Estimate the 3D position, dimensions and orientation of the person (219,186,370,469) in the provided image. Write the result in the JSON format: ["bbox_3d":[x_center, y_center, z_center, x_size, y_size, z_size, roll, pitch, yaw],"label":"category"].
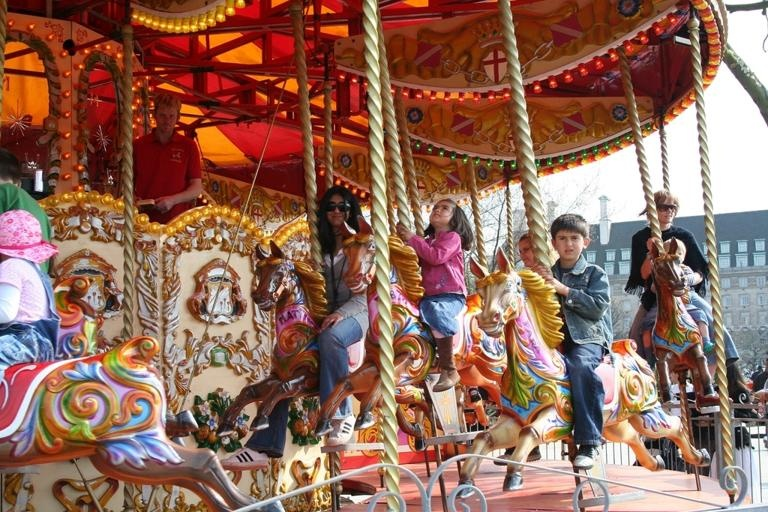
[{"bbox_3d":[-0.685,0.642,10.258,1.301,2.753,0.825,-4,-6,16],"label":"person"}]

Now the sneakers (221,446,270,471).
[{"bbox_3d":[-1.346,1.980,10.218,0.517,0.234,0.210,4,-14,-5],"label":"sneakers"}]

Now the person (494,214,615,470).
[{"bbox_3d":[1.781,0.732,9.624,0.612,2.357,0.784,-3,-6,13],"label":"person"}]

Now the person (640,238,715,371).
[{"bbox_3d":[3.365,0.297,12.160,0.596,1.468,1.945,-8,6,17],"label":"person"}]

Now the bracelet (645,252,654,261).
[{"bbox_3d":[2.978,0.032,11.760,0.105,0.148,0.048,-9,-19,32],"label":"bracelet"}]

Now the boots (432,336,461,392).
[{"bbox_3d":[0.599,1.050,10.277,0.204,0.516,0.258,-4,-6,13],"label":"boots"}]

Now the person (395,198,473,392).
[{"bbox_3d":[0.570,0.370,10.611,0.594,1.964,0.860,-4,-6,15],"label":"person"}]

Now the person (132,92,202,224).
[{"bbox_3d":[-2.495,-1.138,12.130,0.767,1.629,0.789,-1,-6,-14],"label":"person"}]

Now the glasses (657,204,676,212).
[{"bbox_3d":[3.280,-0.560,12.092,0.223,0.077,0.097,-1,-6,-11],"label":"glasses"}]

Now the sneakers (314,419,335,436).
[{"bbox_3d":[-0.545,1.598,9.783,0.137,0.141,0.358,-3,-6,7],"label":"sneakers"}]

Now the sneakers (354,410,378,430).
[{"bbox_3d":[-0.177,1.532,9.818,0.207,0.168,0.231,-2,-6,0],"label":"sneakers"}]

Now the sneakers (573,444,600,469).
[{"bbox_3d":[1.784,1.769,9.239,0.261,0.226,0.214,-2,-6,-5],"label":"sneakers"}]
